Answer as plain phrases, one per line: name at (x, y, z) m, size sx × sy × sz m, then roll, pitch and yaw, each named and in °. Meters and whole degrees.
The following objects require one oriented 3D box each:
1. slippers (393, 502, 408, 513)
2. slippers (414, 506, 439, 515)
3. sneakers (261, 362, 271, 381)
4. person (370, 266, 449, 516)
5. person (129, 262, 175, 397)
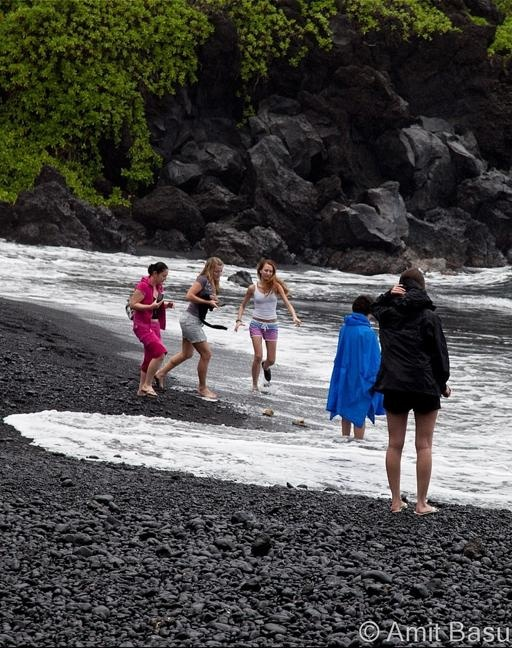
slippers at (1.179, 1.491, 8.814) m, size 0.058 × 0.055 × 0.152 m, roll 6°, pitch 18°, yaw 26°
slippers at (1.380, 1.511, 8.762) m, size 0.154 × 0.055 × 0.076 m, roll -7°, pitch 10°, yaw -26°
sneakers at (0.149, 0.602, 13.526) m, size 0.094 × 0.241 × 0.102 m, roll -23°, pitch 22°, yaw -39°
person at (1.183, 0.548, 8.666) m, size 0.679 × 1.979 × 0.430 m, roll 12°, pitch 9°, yaw 19°
person at (-1.209, 0.026, 12.067) m, size 0.487 × 1.515 × 0.543 m, roll 8°, pitch 9°, yaw -6°
